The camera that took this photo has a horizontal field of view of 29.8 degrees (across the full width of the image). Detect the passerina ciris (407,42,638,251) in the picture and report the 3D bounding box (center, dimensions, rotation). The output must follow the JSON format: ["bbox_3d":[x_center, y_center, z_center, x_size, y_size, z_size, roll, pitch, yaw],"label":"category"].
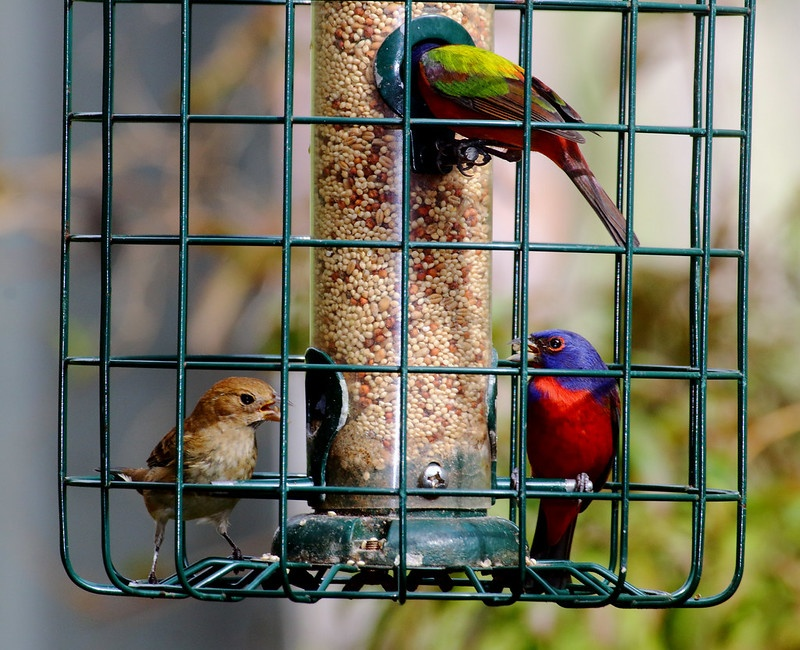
[{"bbox_3d":[0.405,-0.813,5.551,0.842,1.073,0.577,-2,9,-25],"label":"passerina ciris"}]

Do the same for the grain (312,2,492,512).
[{"bbox_3d":[0.013,-0.216,5.668,0.539,2.057,0.709,-2,1,-1],"label":"grain"}]

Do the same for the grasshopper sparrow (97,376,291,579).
[{"bbox_3d":[-0.853,0.563,5.846,0.824,0.850,0.431,6,5,29],"label":"grasshopper sparrow"}]

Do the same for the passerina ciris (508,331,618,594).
[{"bbox_3d":[0.677,0.443,6.107,0.366,1.135,0.556,4,7,37],"label":"passerina ciris"}]
